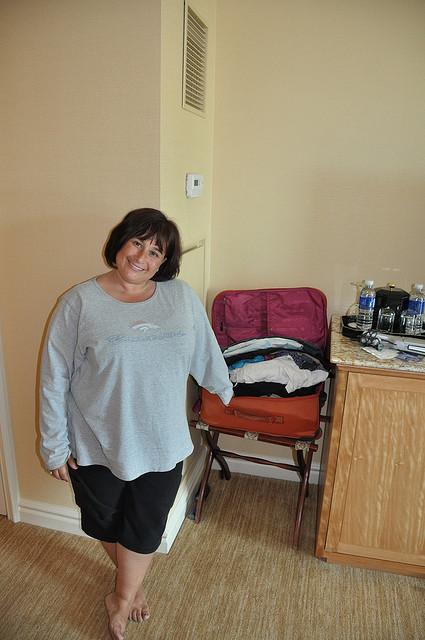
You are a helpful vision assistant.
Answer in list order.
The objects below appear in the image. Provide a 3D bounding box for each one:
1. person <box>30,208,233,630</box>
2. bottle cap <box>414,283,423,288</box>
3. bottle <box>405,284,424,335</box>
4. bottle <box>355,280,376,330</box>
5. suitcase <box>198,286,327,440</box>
[{"bbox_3d":[-0.201,0.347,1.497,0.586,1.346,0.266,-9,18,-36],"label":"person"},{"bbox_3d":[0.834,-0.140,1.969,0.036,0.022,0.036,0,6,3],"label":"bottle cap"},{"bbox_3d":[0.791,-0.044,1.890,0.058,0.177,0.143,8,16,21],"label":"bottle"},{"bbox_3d":[0.624,-0.062,1.967,0.063,0.184,0.158,7,15,18],"label":"bottle"},{"bbox_3d":[0.228,0.141,2.051,0.518,0.247,0.675,-2,38,10],"label":"suitcase"}]
